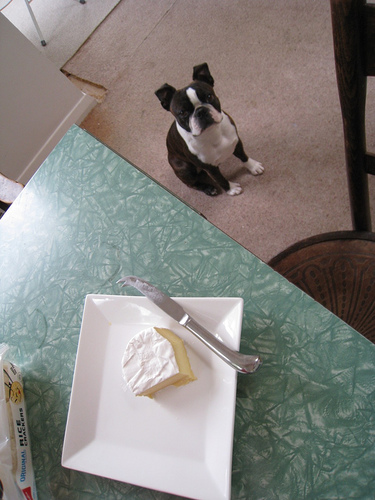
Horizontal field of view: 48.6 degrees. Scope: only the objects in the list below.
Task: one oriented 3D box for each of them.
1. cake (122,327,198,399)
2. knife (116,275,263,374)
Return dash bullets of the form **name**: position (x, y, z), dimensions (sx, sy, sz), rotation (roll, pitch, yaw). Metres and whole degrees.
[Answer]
- **cake**: position (-0.049, 0.172, 0.629), dimensions (0.102, 0.038, 0.110), rotation (-3, 72, 5)
- **knife**: position (0.006, 0.123, 0.653), dimensions (0.205, 0.021, 0.038), rotation (42, 87, 19)
